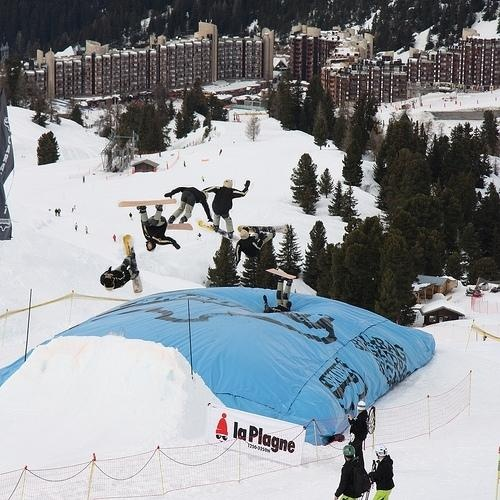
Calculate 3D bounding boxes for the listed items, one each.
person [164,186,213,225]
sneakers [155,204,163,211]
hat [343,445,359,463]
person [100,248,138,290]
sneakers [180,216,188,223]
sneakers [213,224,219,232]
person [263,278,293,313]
[{"bbox_3d":[-2.482,-1.669,35.078,1.498,1.682,0.487,35,-22,11],"label":"person"},{"bbox_3d":[-3.455,-1.612,33.265,0.149,0.296,0.375,0,-7,3],"label":"sneakers"},{"bbox_3d":[2.592,5.183,22.541,0.289,0.568,0.465,-1,15,2],"label":"hat"},{"bbox_3d":[-4.987,0.854,33.780,0.429,1.192,1.848,-2,29,16],"label":"person"},{"bbox_3d":[-2.708,-1.213,35.179,0.178,0.352,0.265,-3,-5,0],"label":"sneakers"},{"bbox_3d":[-1.424,-0.919,36.803,0.108,0.458,0.171,-7,26,33],"label":"sneakers"},{"bbox_3d":[1.295,2.181,41.622,1.025,2.215,0.606,3,-1,5],"label":"person"}]
